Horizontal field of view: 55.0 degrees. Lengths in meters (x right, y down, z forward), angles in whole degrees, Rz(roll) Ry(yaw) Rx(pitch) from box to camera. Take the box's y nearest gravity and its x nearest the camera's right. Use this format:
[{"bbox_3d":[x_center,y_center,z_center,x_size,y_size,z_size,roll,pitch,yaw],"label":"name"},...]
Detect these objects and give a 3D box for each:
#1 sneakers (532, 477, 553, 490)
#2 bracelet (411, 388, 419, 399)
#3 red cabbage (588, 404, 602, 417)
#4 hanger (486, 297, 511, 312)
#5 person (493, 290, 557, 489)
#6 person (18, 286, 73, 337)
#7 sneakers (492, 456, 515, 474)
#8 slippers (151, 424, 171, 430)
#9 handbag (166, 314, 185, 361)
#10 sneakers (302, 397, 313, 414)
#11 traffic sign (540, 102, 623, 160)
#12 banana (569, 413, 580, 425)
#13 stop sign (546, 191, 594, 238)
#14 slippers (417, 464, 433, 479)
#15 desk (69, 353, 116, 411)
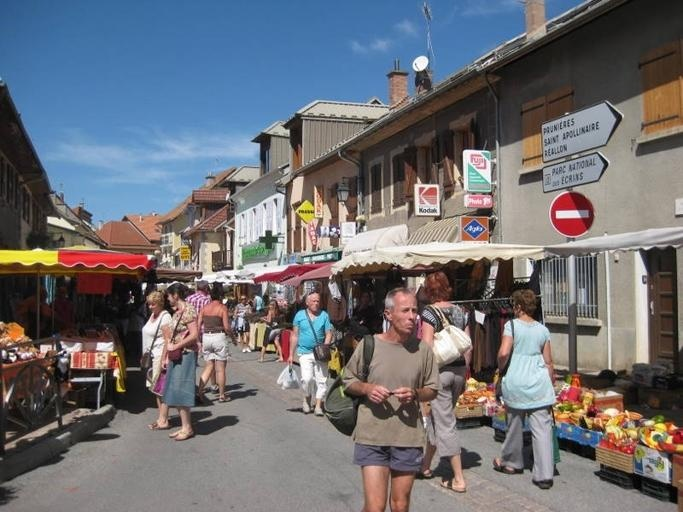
[{"bbox_3d":[2.421,2.738,7.866,0.093,0.103,0.225,0,-13,-5],"label":"sneakers"},{"bbox_3d":[0.711,1.320,6.289,0.057,0.078,0.063,38,-38,-26],"label":"bracelet"},{"bbox_3d":[3.409,2.095,8.847,0.118,0.160,0.149,16,-18,-8],"label":"red cabbage"},{"bbox_3d":[2.821,0.852,11.488,0.602,0.295,0.189,-3,2,-31],"label":"hanger"},{"bbox_3d":[2.263,1.595,8.077,0.693,2.331,0.589,0,4,20],"label":"person"},{"bbox_3d":[-6.914,1.325,15.314,1.124,1.297,1.012,3,-13,-20],"label":"person"},{"bbox_3d":[2.046,2.678,8.374,0.099,0.103,0.290,3,7,-14],"label":"sneakers"},{"bbox_3d":[-2.876,2.736,10.421,0.205,0.058,0.108,8,-10,-7],"label":"slippers"},{"bbox_3d":[-2.441,1.247,9.688,0.159,0.561,0.298,5,-5,-20],"label":"handbag"},{"bbox_3d":[-0.618,2.661,11.589,0.137,0.274,0.254,2,-13,-10],"label":"sneakers"},{"bbox_3d":[3.280,-1.739,9.125,0.238,0.672,1.278,-3,4,-21],"label":"traffic sign"},{"bbox_3d":[3.161,2.220,8.873,0.041,0.105,0.133,3,-40,-27],"label":"banana"},{"bbox_3d":[3.526,-0.622,10.058,0.592,0.743,0.415,0,4,21],"label":"stop sign"},{"bbox_3d":[1.054,2.730,8.231,0.222,0.198,0.449,0,-23,5],"label":"slippers"},{"bbox_3d":[-4.328,2.049,11.563,0.730,0.833,1.129,0,-4,2],"label":"desk"}]
